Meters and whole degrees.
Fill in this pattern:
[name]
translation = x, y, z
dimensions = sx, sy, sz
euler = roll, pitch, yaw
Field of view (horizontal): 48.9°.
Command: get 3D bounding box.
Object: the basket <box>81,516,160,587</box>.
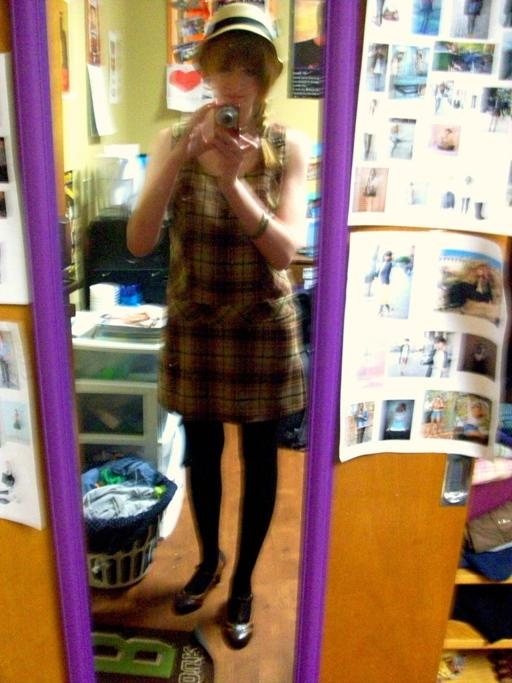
[basket]
translation = -0.263, 0.380, 1.042
dimensions = 0.133, 0.104, 0.141
euler = 4, 0, -20

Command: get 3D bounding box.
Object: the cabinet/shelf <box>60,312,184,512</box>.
[cabinet/shelf]
translation = -0.237, 0.115, 0.962
dimensions = 0.197, 0.262, 0.205
euler = 8, 17, 21

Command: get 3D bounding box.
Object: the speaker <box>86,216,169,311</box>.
[speaker]
translation = -0.195, -0.121, 0.839
dimensions = 0.129, 0.114, 0.065
euler = 1, 18, -6

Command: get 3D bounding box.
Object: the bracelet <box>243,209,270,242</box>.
[bracelet]
translation = 0.001, -0.167, 0.811
dimensions = 0.014, 0.035, 0.030
euler = 17, -1, -27

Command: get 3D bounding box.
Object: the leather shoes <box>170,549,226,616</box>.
[leather shoes]
translation = -0.100, 0.419, 0.995
dimensions = 0.045, 0.132, 0.052
euler = 39, 16, 15

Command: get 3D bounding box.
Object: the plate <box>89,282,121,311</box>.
[plate]
translation = -0.227, -0.066, 0.841
dimensions = 0.047, 0.043, 0.034
euler = 3, 28, 3

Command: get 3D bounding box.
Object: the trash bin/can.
[trash bin/can]
translation = -0.232, 0.348, 1.042
dimensions = 0.174, 0.148, 0.195
euler = -17, 17, -37
